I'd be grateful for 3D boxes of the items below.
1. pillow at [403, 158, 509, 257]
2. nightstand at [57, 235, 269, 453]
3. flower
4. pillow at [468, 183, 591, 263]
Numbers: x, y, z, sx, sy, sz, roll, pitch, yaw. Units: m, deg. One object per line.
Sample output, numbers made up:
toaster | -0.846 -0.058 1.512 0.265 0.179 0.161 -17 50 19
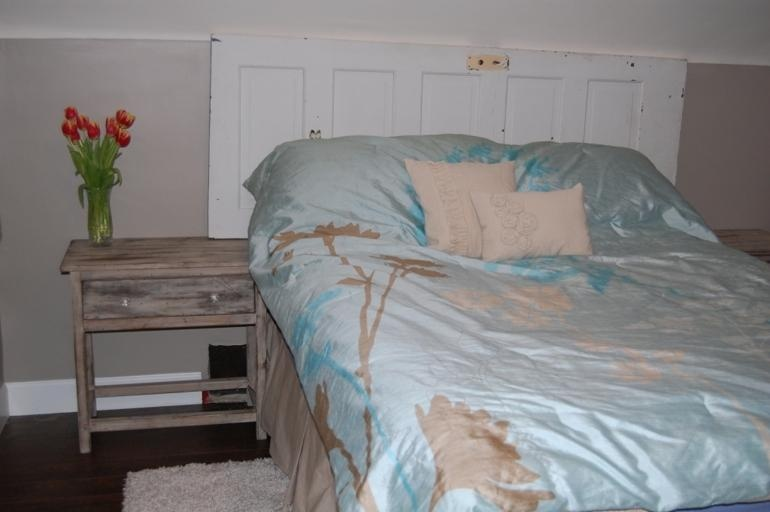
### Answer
pillow | 0.276 -0.224 2.296 0.417 0.388 0.118 -1 -14 -7
nightstand | -0.968 0.340 2.722 0.966 0.816 0.602 -2 25 -14
flower | -1.284 -0.379 2.629 0.289 0.587 0.310 -7 15 -25
pillow | 0.571 -0.109 2.294 0.498 0.294 0.160 -2 4 -11
